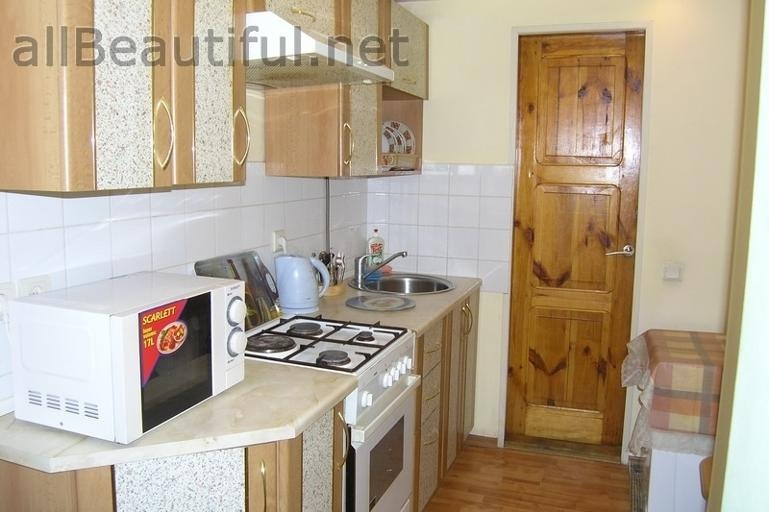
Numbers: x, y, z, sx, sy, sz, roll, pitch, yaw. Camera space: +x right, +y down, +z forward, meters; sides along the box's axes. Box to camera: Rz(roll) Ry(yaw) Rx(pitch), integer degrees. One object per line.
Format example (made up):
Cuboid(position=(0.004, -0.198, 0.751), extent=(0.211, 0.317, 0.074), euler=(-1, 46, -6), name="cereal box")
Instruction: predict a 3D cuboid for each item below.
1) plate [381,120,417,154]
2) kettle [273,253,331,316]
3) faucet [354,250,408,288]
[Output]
Cuboid(position=(0.088, -0.792, 3.893), extent=(0.253, 0.251, 0.059), euler=(14, 15, 19), name="plate")
Cuboid(position=(-0.395, 0.141, 3.054), extent=(0.338, 0.331, 0.238), euler=(2, 6, 0), name="kettle")
Cuboid(position=(-0.034, 0.059, 3.772), extent=(0.266, 0.229, 0.597), euler=(0, 15, 9), name="faucet")
